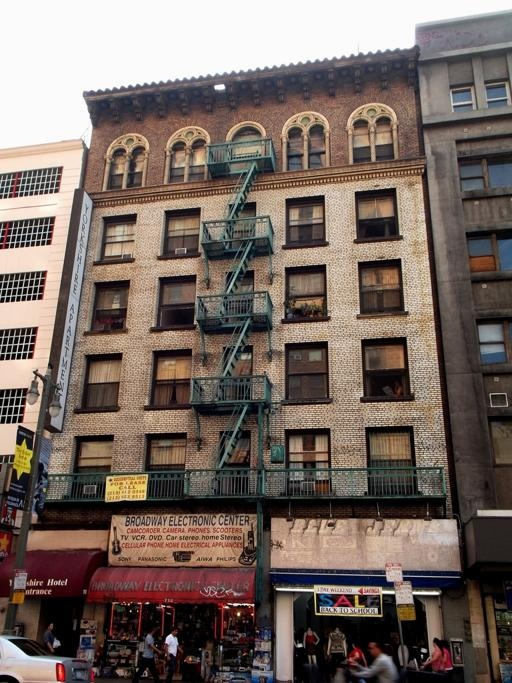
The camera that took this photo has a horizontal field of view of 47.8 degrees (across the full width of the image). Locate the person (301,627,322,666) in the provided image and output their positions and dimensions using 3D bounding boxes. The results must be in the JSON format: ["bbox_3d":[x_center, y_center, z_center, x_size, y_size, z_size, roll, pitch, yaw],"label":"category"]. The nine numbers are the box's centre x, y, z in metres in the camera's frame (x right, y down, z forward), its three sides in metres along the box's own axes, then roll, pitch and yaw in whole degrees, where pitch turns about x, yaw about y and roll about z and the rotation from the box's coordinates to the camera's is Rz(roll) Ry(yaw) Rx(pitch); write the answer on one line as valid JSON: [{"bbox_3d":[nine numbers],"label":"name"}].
[{"bbox_3d":[1.590,8.799,16.713,0.389,0.916,0.359,16,-32,-23],"label":"person"}]
